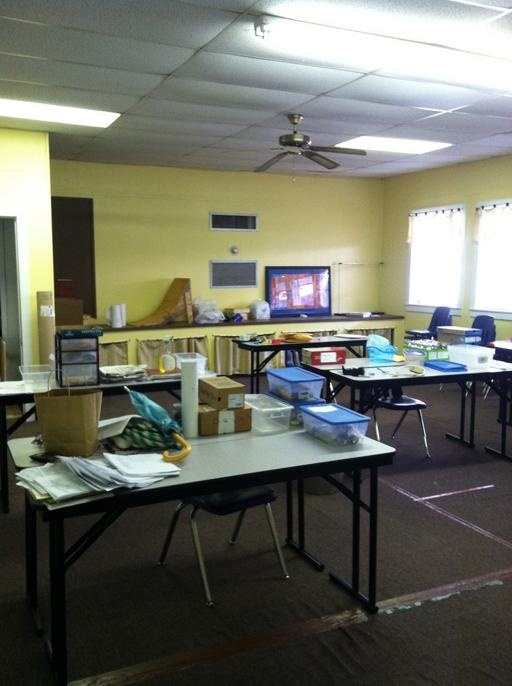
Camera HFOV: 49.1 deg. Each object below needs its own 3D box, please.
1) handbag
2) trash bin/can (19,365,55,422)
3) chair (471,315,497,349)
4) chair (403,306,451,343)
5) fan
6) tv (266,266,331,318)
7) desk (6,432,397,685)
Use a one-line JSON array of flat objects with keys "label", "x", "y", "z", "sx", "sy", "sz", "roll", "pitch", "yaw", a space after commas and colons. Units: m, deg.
[{"label": "handbag", "x": -0.692, "y": 0.301, "z": 2.068, "sx": 0.226, "sy": 0.251, "sz": 0.145, "roll": 4, "pitch": 17, "yaw": 18}, {"label": "trash bin/can", "x": -1.436, "y": 0.303, "z": 3.577, "sx": 0.315, "sy": 0.269, "sz": 0.443, "roll": 0, "pitch": 2, "yaw": -28}, {"label": "chair", "x": 2.768, "y": -0.151, "z": 6.752, "sx": 0.237, "sy": 0.336, "sz": 0.564, "roll": 2, "pitch": 6, "yaw": 14}, {"label": "chair", "x": 2.360, "y": -0.274, "z": 7.760, "sx": 0.690, "sy": 0.640, "sz": 0.465, "roll": 0, "pitch": 3, "yaw": -23}, {"label": "fan", "x": 0.537, "y": -1.992, "z": 5.560, "sx": 0.968, "sy": 0.306, "sz": 0.824, "roll": -4, "pitch": 12, "yaw": -26}, {"label": "tv", "x": 0.591, "y": -0.766, "z": 8.424, "sx": 0.922, "sy": 0.585, "sz": 0.033, "roll": -1, "pitch": 0, "yaw": -29}, {"label": "desk", "x": -0.239, "y": 0.879, "z": 2.333, "sx": 1.614, "sy": 0.705, "sz": 0.828, "roll": -4, "pitch": 11, "yaw": -23}]
